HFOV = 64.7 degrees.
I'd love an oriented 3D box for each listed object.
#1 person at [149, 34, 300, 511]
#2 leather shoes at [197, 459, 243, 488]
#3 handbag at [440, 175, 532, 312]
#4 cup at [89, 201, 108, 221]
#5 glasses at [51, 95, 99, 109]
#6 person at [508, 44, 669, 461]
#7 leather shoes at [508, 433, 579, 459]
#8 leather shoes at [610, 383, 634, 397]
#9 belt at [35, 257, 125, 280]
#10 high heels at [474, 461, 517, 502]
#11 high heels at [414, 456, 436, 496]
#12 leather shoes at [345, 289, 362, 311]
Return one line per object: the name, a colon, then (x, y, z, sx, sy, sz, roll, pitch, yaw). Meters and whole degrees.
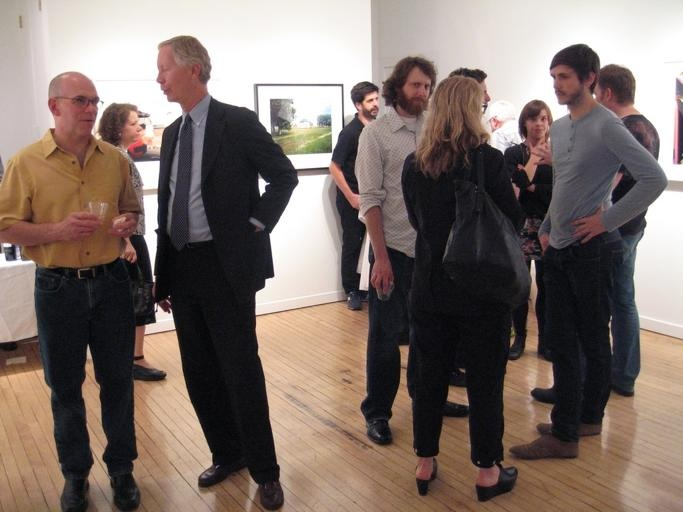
person: (-0.631, 0.102, 2.851, 0.729, 2.423, 0.468, 4, 16, 21)
leather shoes: (-0.697, 1.241, 3.135, 0.264, 0.109, 0.087, -10, 14, -43)
handbag: (0.693, -0.051, 2.580, 0.387, 0.610, 0.203, 2, 15, 14)
cup: (-1.172, -0.221, 2.601, 0.089, 0.082, 0.084, -1, 3, 0)
glasses: (-1.339, -0.785, 2.721, 0.205, 0.057, 0.095, -10, 16, -28)
person: (1.443, -0.003, 3.101, 0.611, 2.354, 0.730, 4, 16, 21)
leather shoes: (1.205, 1.145, 3.263, 0.438, 0.168, 0.145, 1, -5, 3)
leather shoes: (2.038, 0.985, 3.947, 0.071, 0.085, 0.195, -1, 5, -21)
belt: (-1.372, 0.078, 2.825, 0.434, 0.085, 0.099, -6, 15, -15)
high heels: (0.840, 1.221, 2.921, 0.127, 0.120, 0.284, 6, 14, 39)
high heels: (0.481, 1.214, 2.963, 0.081, 0.084, 0.232, -12, 29, 32)
leather shoes: (0.129, 0.487, 5.927, 0.206, 0.198, 0.548, -2, -3, -4)
